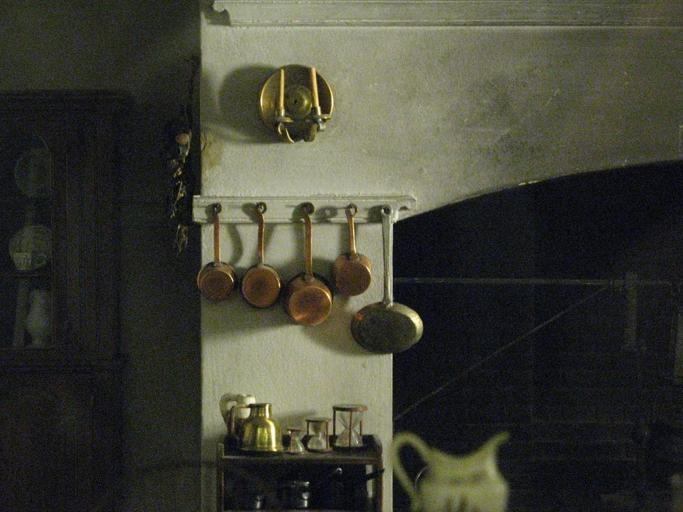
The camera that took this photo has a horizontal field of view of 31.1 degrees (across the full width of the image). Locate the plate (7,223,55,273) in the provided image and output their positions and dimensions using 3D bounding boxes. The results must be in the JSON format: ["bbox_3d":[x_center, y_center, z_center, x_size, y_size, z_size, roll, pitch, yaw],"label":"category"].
[{"bbox_3d":[-1.249,-0.032,4.953,0.172,0.197,0.183,4,-9,-33],"label":"plate"}]

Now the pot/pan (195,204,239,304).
[{"bbox_3d":[-0.478,-0.007,4.549,0.160,0.349,0.114,0,0,-2],"label":"pot/pan"}]

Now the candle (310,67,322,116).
[{"bbox_3d":[-0.100,-0.613,4.570,0.048,0.198,0.099,2,-6,-1],"label":"candle"}]

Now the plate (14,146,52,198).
[{"bbox_3d":[-1.246,-0.343,4.963,0.137,0.199,0.060,0,-7,21],"label":"plate"}]

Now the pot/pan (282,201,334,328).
[{"bbox_3d":[-0.131,0.020,4.595,0.195,0.435,0.117,-2,-4,-4],"label":"pot/pan"}]

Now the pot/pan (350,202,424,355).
[{"bbox_3d":[0.158,0.095,4.697,0.310,0.607,0.082,0,2,7],"label":"pot/pan"}]

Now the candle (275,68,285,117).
[{"bbox_3d":[-0.226,-0.610,4.558,0.031,0.203,0.093,2,-6,-3],"label":"candle"}]

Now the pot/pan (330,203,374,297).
[{"bbox_3d":[0.035,-0.026,4.601,0.147,0.340,0.104,-2,0,0],"label":"pot/pan"}]

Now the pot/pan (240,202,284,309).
[{"bbox_3d":[-0.297,-0.007,4.589,0.149,0.396,0.091,2,-6,-4],"label":"pot/pan"}]
